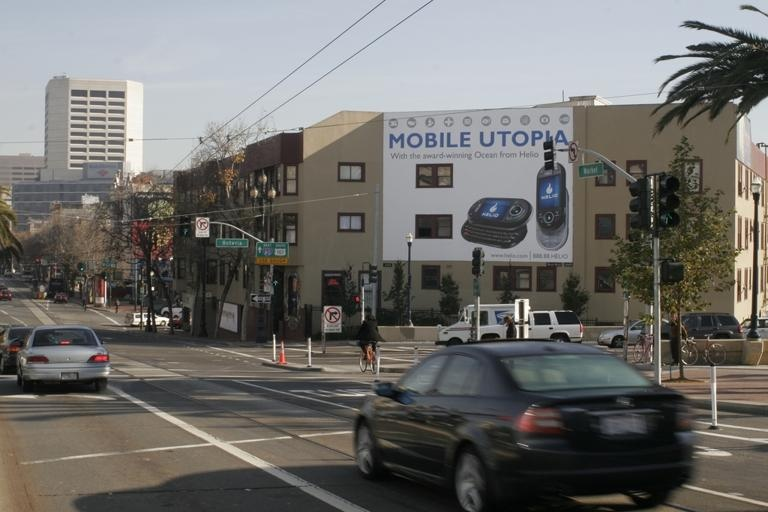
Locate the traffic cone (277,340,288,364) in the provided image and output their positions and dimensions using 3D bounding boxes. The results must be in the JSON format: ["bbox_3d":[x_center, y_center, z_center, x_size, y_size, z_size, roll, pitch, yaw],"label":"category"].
[{"bbox_3d":[-5.140,4.874,55.126,0.758,1.046,0.793,-2,-12,2],"label":"traffic cone"}]

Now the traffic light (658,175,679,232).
[{"bbox_3d":[8.792,-1.735,33.404,0.599,1.607,1.380,0,-5,13],"label":"traffic light"}]

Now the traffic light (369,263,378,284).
[{"bbox_3d":[-0.532,0.900,58.704,0.290,0.980,1.025,0,-5,9],"label":"traffic light"}]

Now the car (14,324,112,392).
[{"bbox_3d":[-10.417,3.248,35.031,1.443,1.884,4.554,2,-3,-36],"label":"car"}]

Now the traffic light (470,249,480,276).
[{"bbox_3d":[3.746,0.226,43.073,0.359,1.066,1.034,1,-5,7],"label":"traffic light"}]

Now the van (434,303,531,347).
[{"bbox_3d":[4.616,3.413,55.526,3.318,1.898,2.620,1,-4,8],"label":"van"}]

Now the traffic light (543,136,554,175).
[{"bbox_3d":[5.833,-3.579,38.159,0.292,1.033,0.504,1,-4,4],"label":"traffic light"}]
